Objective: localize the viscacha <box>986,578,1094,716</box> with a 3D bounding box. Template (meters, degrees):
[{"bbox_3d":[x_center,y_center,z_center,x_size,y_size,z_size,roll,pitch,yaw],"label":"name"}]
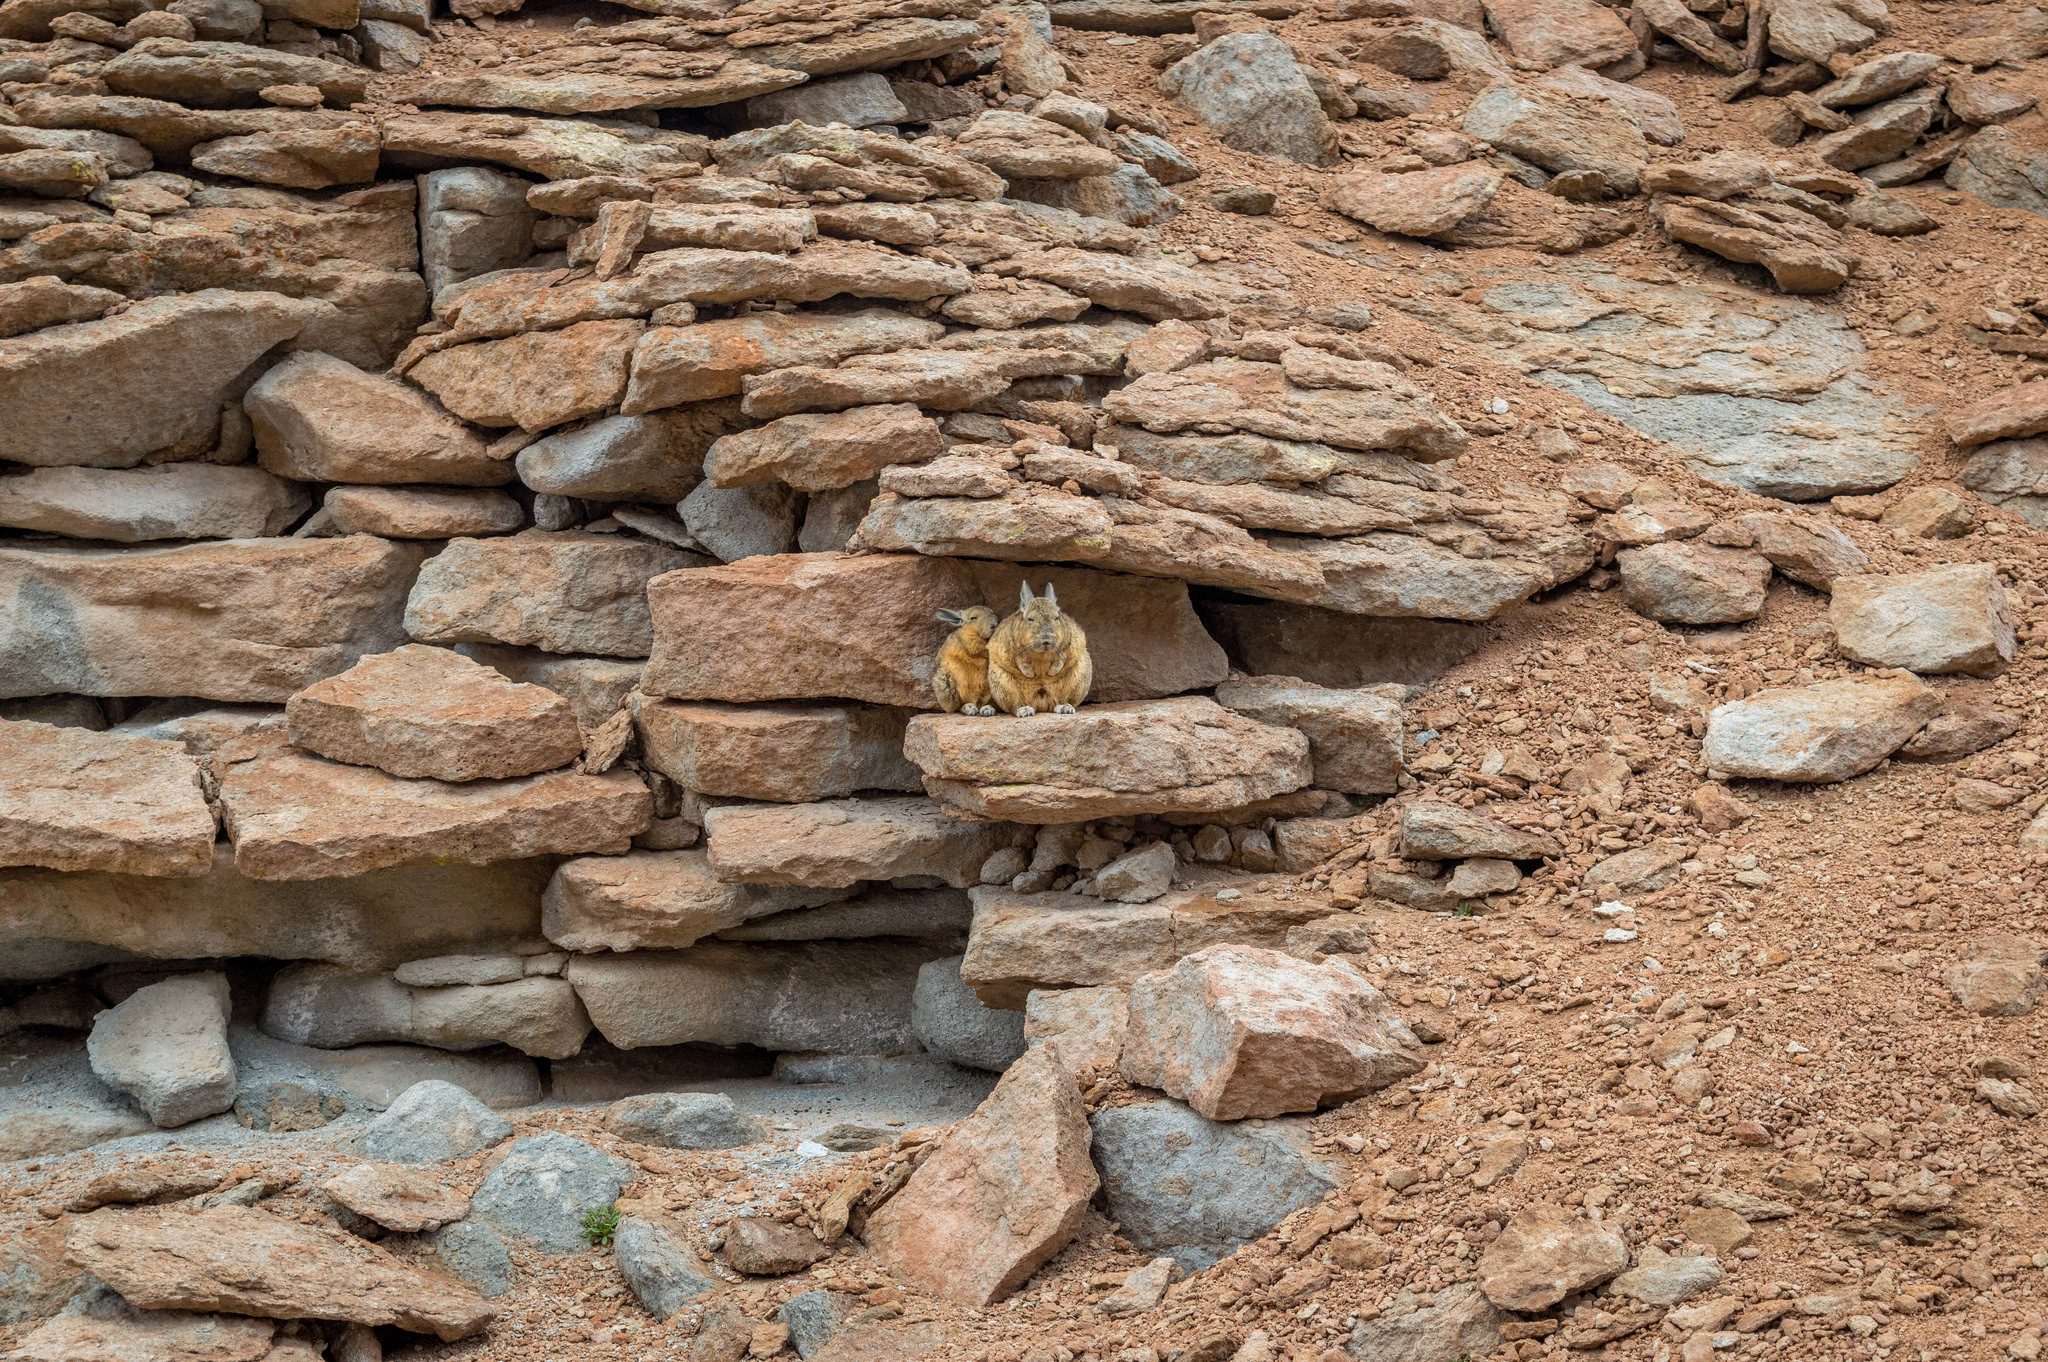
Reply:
[{"bbox_3d":[0.061,-0.124,13.444,0.631,0.557,0.767,-3,-6,-7],"label":"viscacha"}]
